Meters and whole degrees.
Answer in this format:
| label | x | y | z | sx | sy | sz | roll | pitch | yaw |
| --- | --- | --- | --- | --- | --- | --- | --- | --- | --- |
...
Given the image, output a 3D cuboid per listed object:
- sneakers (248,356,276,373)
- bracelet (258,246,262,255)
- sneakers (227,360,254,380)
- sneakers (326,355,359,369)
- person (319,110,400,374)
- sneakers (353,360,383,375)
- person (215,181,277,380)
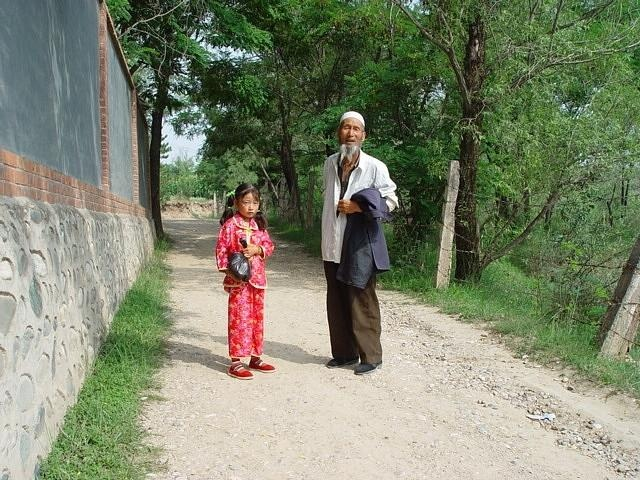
| label | x | y | z | sx | sy | sz | roll | pitch | yaw |
| --- | --- | --- | --- | --- | --- | --- | --- | --- | --- |
| sneakers | -0.595 | 1.265 | 5.573 | 0.278 | 0.120 | 0.117 | 3 | 3 | 19 |
| bracelet | -0.586 | 0.109 | 5.467 | 0.022 | 0.065 | 0.061 | -9 | 9 | -3 |
| sneakers | -0.782 | 1.250 | 5.382 | 0.234 | 0.150 | 0.305 | 1 | 6 | -10 |
| sneakers | 0.241 | 1.290 | 5.837 | 0.328 | 0.145 | 0.123 | 6 | -3 | -19 |
| person | 0.357 | 0.009 | 5.674 | 0.814 | 2.654 | 0.509 | 3 | 6 | 16 |
| sneakers | 0.495 | 1.304 | 5.631 | 0.305 | 0.129 | 0.111 | 3 | -6 | -44 |
| person | -0.734 | 0.380 | 5.431 | 0.566 | 1.873 | 0.571 | 0 | 6 | -24 |
